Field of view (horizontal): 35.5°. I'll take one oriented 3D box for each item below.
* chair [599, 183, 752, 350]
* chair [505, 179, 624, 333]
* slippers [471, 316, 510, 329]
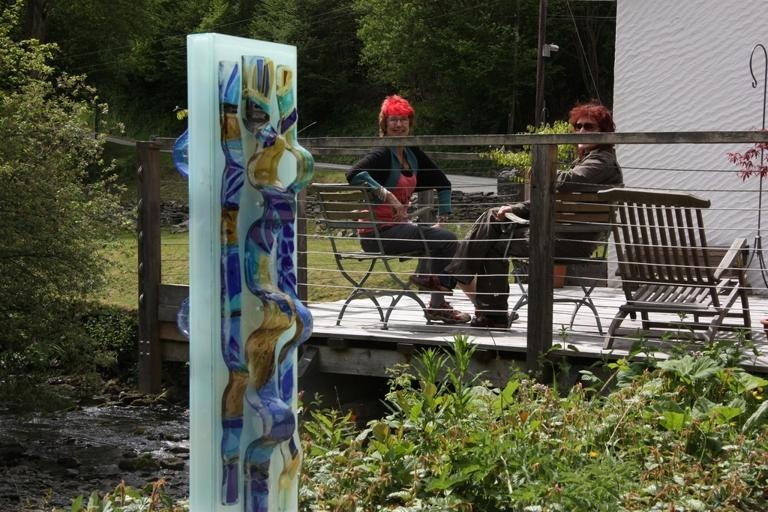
[{"bbox_3d":[4.080,0.095,16.797,1.862,2.321,2.552,1,-4,-1],"label":"chair"},{"bbox_3d":[2.621,0.137,17.642,1.634,1.823,1.593,6,-7,-35],"label":"chair"},{"bbox_3d":[1.555,0.940,17.538,0.620,0.261,0.207,-1,5,2],"label":"slippers"}]
